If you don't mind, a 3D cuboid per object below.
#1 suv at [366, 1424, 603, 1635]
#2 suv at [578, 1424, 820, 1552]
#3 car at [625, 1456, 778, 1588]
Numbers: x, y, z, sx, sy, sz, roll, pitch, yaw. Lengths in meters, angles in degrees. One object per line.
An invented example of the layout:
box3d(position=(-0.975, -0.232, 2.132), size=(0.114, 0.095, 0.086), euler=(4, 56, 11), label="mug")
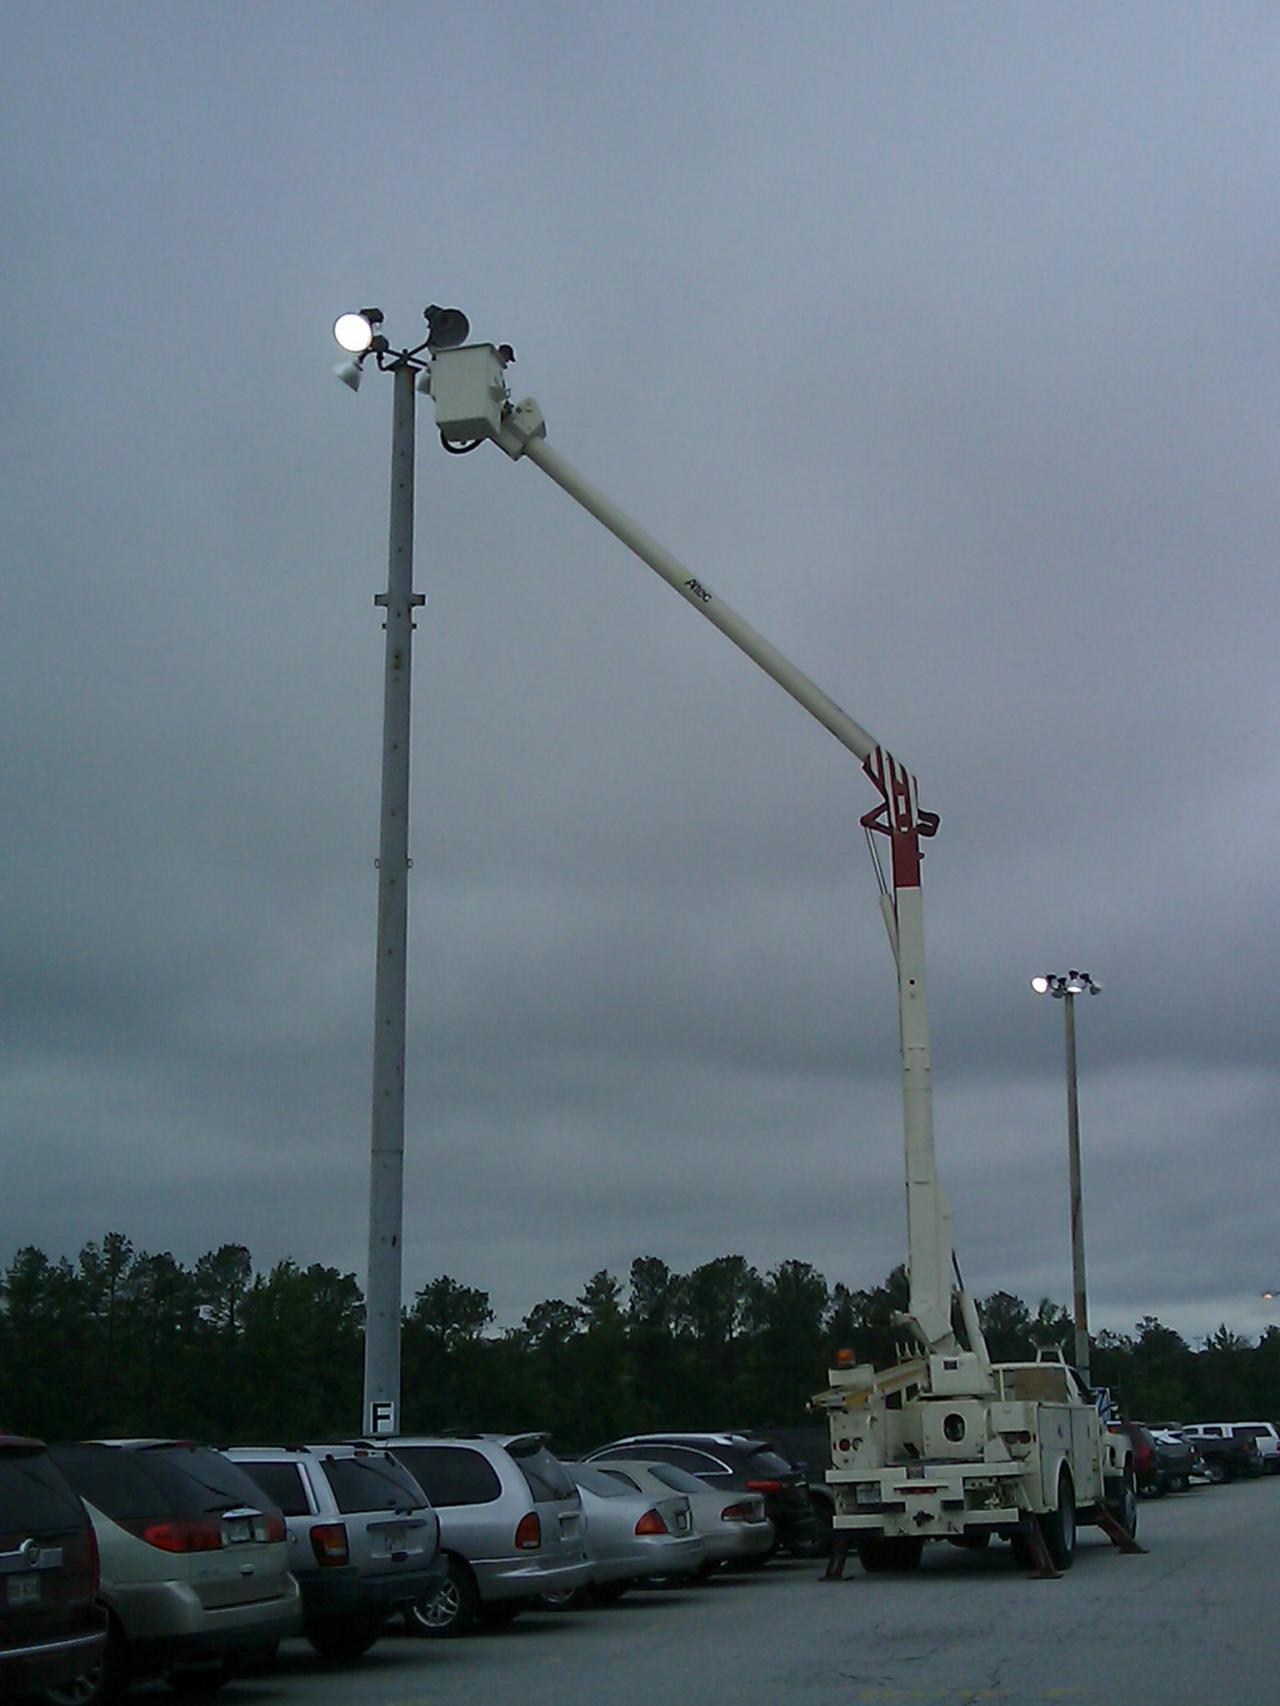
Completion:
box3d(position=(-0.902, 4.963, 16.791), size=(2.097, 1.020, 1.017), euler=(-1, -15, 14), label="suv")
box3d(position=(0.517, 6.509, 23.469), size=(2.597, 0.806, 1.154), euler=(1, -23, 10), label="suv")
box3d(position=(0.784, 6.284, 21.468), size=(1.924, 0.615, 0.821), euler=(-1, -10, 15), label="car")
